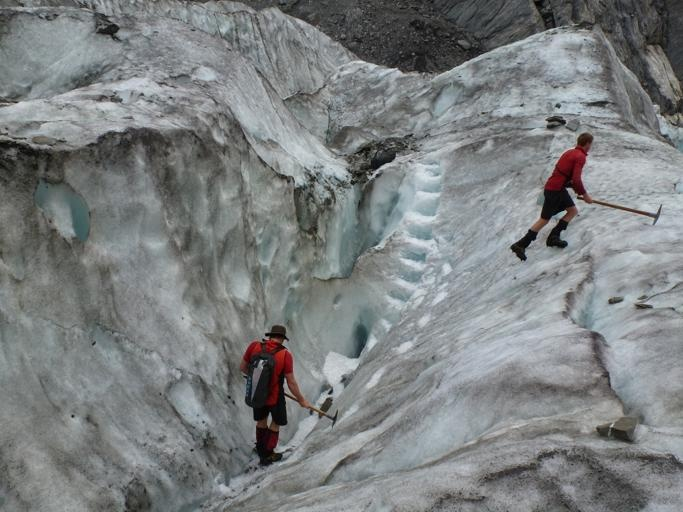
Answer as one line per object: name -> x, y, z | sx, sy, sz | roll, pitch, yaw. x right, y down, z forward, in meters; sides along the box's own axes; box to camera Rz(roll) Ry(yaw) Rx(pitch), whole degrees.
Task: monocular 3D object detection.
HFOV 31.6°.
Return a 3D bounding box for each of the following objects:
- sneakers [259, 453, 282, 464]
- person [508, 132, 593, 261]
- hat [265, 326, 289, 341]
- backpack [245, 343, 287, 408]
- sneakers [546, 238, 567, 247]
sneakers -> -0.872, 2.591, 15.482 | 0.330, 0.132, 0.107 | -11, 16, 0
person -> 2.909, -0.776, 16.633 | 1.372, 2.218, 0.812 | 1, 40, 4
hat -> -0.781, 0.957, 15.253 | 0.219, 0.108, 0.244 | 14, -10, 5
backpack -> -0.982, 1.479, 14.905 | 0.421, 0.680, 0.756 | 10, 3, 16
sneakers -> 2.869, -0.185, 15.972 | 0.265, 0.126, 0.097 | -1, -1, 25
